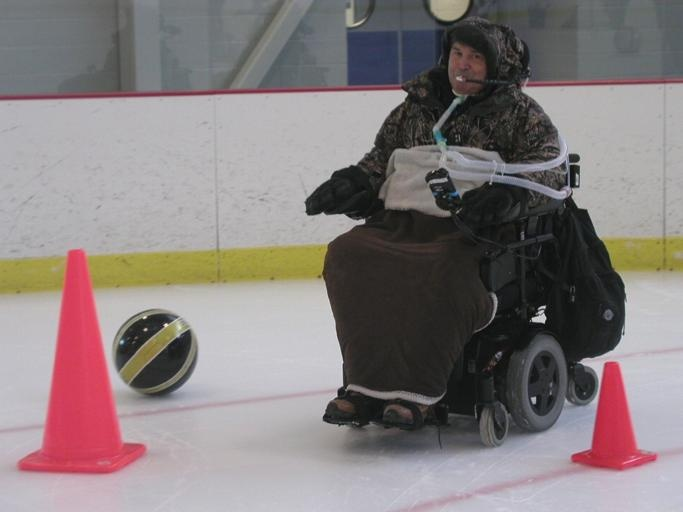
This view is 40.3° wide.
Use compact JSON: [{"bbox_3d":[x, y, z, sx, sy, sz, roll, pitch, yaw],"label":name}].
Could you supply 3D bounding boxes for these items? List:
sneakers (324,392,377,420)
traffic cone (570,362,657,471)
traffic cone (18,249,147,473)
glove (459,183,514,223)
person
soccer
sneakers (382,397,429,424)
[{"bbox_3d":[0.025,0.541,3.335,0.095,0.062,0.146,-5,-9,37],"label":"sneakers"},{"bbox_3d":[0.950,0.554,3.233,0.341,0.433,0.355,-3,-5,21],"label":"traffic cone"},{"bbox_3d":[-0.926,0.364,3.216,0.367,0.739,0.305,4,12,25],"label":"traffic cone"},{"bbox_3d":[0.541,-0.195,3.445,0.199,0.142,0.063,0,11,5],"label":"glove"},{"bbox_3d":[0.295,-0.169,3.518,0.751,1.470,0.992,8,14,41],"label":"person"},{"bbox_3d":[-0.812,0.384,4.019,0.372,0.395,0.345,2,13,-18],"label":"soccer"},{"bbox_3d":[0.228,0.553,3.293,0.156,0.085,0.086,-2,10,-2],"label":"sneakers"}]
